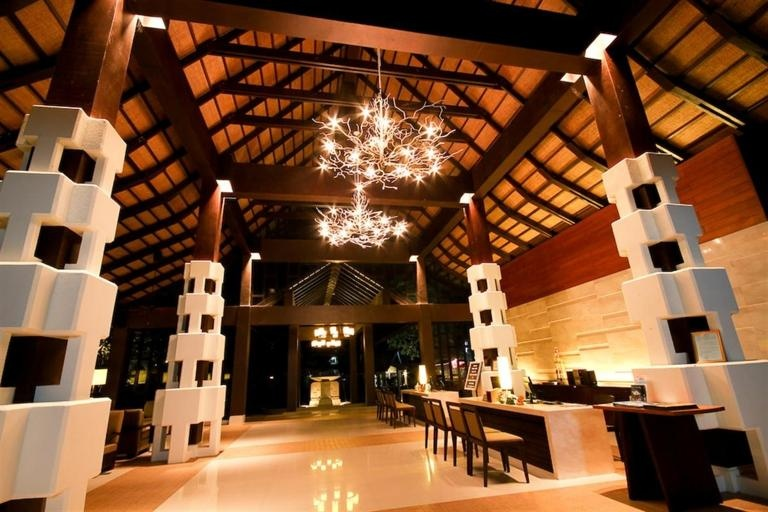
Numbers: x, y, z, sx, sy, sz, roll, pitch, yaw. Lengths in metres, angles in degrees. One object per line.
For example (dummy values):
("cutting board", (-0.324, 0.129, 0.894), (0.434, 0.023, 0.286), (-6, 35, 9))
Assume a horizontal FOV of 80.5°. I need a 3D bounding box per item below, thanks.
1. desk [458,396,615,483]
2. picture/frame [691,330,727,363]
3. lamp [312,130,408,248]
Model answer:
("desk", (2.616, 2.960, 6.970), (0.788, 0.804, 2.333), (-2, -27, 1))
("picture/frame", (3.695, 1.029, 5.145), (0.044, 0.390, 0.311), (17, -26, -21))
("lamp", (-0.457, -1.091, 9.588), (1.722, 1.491, 1.713), (7, 18, 25))
